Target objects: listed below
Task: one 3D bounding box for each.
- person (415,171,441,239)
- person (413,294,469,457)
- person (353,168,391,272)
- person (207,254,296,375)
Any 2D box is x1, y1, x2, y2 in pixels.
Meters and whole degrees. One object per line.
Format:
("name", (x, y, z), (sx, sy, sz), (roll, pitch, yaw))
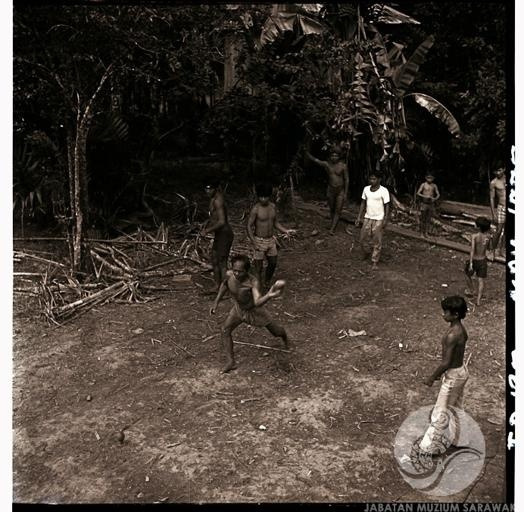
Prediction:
("person", (3.592, -1.122, 12.350), (0.373, 1.331, 0.588), (1, 14, -23))
("person", (1.996, 1.286, 6.097), (0.500, 1.749, 0.322), (3, 13, -16))
("person", (2.119, -0.743, 10.819), (0.555, 1.736, 1.237), (9, 13, 10))
("person", (-0.088, 0.712, 7.315), (1.087, 1.597, 0.753), (-2, 31, -9))
